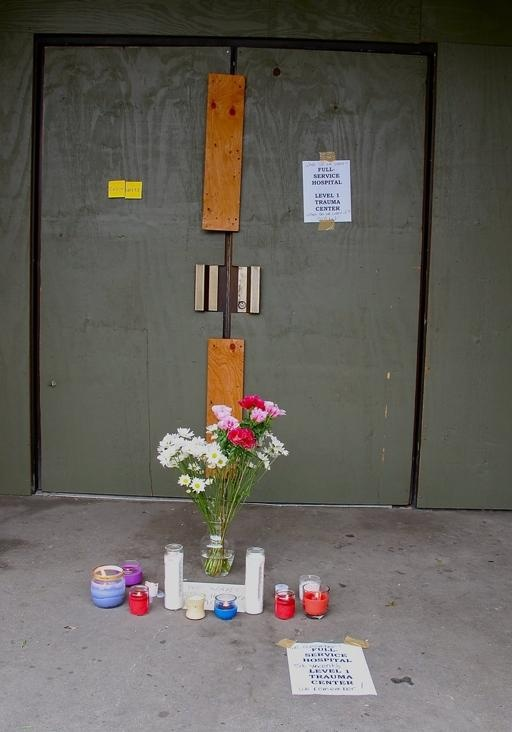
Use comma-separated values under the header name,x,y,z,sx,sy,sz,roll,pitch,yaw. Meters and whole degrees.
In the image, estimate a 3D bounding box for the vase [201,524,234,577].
name,x,y,z,sx,sy,sz,roll,pitch,yaw
vase,-0.138,0.624,2.297,0.106,0.199,0.122,3,-6,-20

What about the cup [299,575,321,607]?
name,x,y,z,sx,sy,sz,roll,pitch,yaw
cup,0.171,0.716,2.098,0.060,0.082,0.073,1,-5,6

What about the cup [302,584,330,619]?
name,x,y,z,sx,sy,sz,roll,pitch,yaw
cup,0.189,0.719,2.021,0.063,0.080,0.078,1,-1,4

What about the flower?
name,x,y,z,sx,sy,sz,roll,pitch,yaw
flower,-0.122,0.424,2.215,0.397,0.603,0.361,1,2,3

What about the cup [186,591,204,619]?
name,x,y,z,sx,sy,sz,roll,pitch,yaw
cup,-0.181,0.710,1.963,0.053,0.068,0.058,1,-6,0

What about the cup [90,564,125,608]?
name,x,y,z,sx,sy,sz,roll,pitch,yaw
cup,-0.460,0.682,2.077,0.099,0.108,0.107,1,-4,0

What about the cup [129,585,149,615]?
name,x,y,z,sx,sy,sz,roll,pitch,yaw
cup,-0.356,0.711,2.004,0.060,0.063,0.079,-2,5,-9

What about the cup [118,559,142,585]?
name,x,y,z,sx,sy,sz,roll,pitch,yaw
cup,-0.420,0.680,2.178,0.058,0.063,0.062,0,-7,0

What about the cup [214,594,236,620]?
name,x,y,z,sx,sy,sz,roll,pitch,yaw
cup,-0.093,0.714,1.967,0.057,0.057,0.061,0,-8,0

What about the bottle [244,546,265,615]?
name,x,y,z,sx,sy,sz,roll,pitch,yaw
bottle,-0.006,0.652,2.045,0.062,0.194,0.155,-1,5,-1

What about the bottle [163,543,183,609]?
name,x,y,z,sx,sy,sz,roll,pitch,yaw
bottle,-0.258,0.644,2.013,0.070,0.195,0.075,-1,5,0

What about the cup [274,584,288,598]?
name,x,y,z,sx,sy,sz,roll,pitch,yaw
cup,0.080,0.698,2.084,0.044,0.038,0.047,3,-4,0

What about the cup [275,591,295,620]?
name,x,y,z,sx,sy,sz,roll,pitch,yaw
cup,0.088,0.722,2.003,0.061,0.064,0.083,-1,5,3
